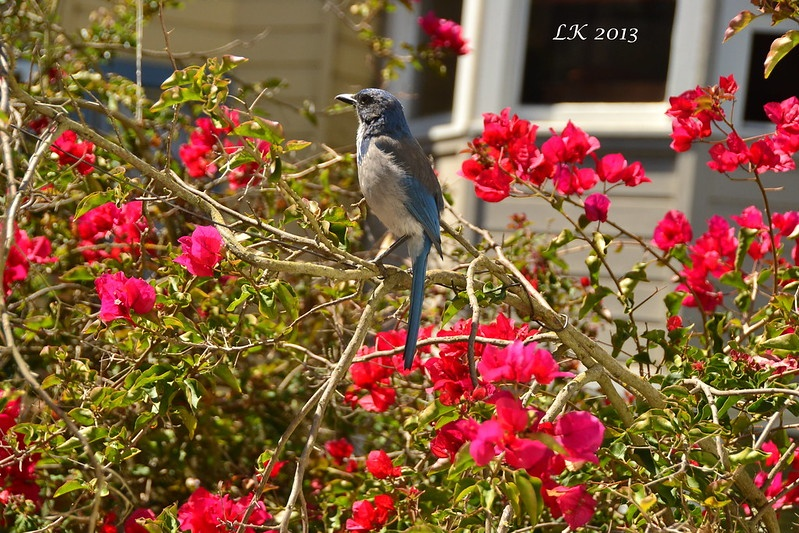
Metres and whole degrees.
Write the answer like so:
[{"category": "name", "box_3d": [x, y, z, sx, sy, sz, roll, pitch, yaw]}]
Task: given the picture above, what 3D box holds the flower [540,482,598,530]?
[{"category": "flower", "box_3d": [0.772, 1.109, 4.749, 0.225, 0.243, 0.385, -3, -3, 28]}]
